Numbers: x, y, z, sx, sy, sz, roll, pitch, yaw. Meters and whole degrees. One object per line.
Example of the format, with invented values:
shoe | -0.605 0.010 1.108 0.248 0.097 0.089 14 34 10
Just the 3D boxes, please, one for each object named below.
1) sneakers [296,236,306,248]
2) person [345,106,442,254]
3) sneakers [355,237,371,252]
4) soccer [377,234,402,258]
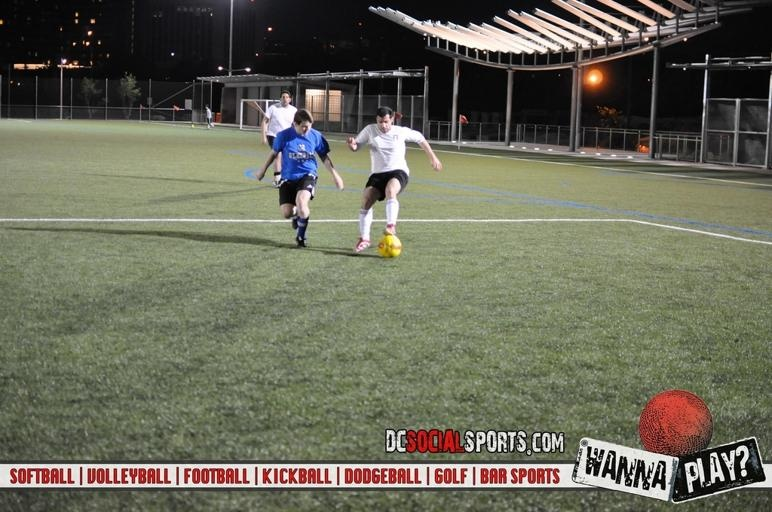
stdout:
sneakers | -1.285 -0.189 8.775 0.147 0.133 0.128 1 7 18
person | 0.049 -1.158 8.821 1.321 2.118 0.850 -3 8 -27
sneakers | -0.340 -0.155 8.584 0.365 0.195 0.192 -7 12 -45
soccer | 0.054 -0.130 8.235 0.308 0.353 0.298 -4 0 4
